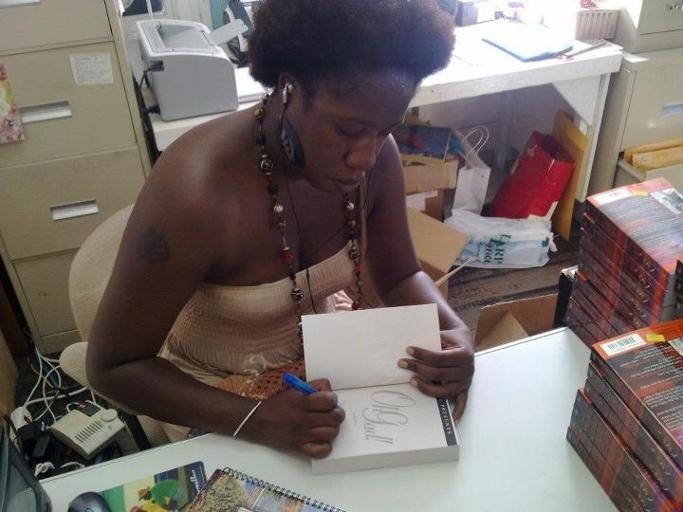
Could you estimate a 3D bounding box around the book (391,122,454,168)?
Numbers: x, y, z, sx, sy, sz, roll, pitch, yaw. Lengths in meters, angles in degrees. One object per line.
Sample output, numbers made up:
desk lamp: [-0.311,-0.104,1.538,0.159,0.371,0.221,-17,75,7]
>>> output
book: [0.418,-0.572,2.657,0.210,0.055,0.231,6,53,8]

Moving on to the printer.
printer: [-0.606,-0.719,2.158,0.382,0.345,0.498,-11,41,-13]

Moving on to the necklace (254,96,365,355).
necklace: [-0.115,-0.028,1.269,0.199,0.696,0.033,-9,19,-21]

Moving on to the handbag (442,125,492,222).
handbag: [0.678,-0.440,2.811,0.171,0.530,0.355,8,43,7]
